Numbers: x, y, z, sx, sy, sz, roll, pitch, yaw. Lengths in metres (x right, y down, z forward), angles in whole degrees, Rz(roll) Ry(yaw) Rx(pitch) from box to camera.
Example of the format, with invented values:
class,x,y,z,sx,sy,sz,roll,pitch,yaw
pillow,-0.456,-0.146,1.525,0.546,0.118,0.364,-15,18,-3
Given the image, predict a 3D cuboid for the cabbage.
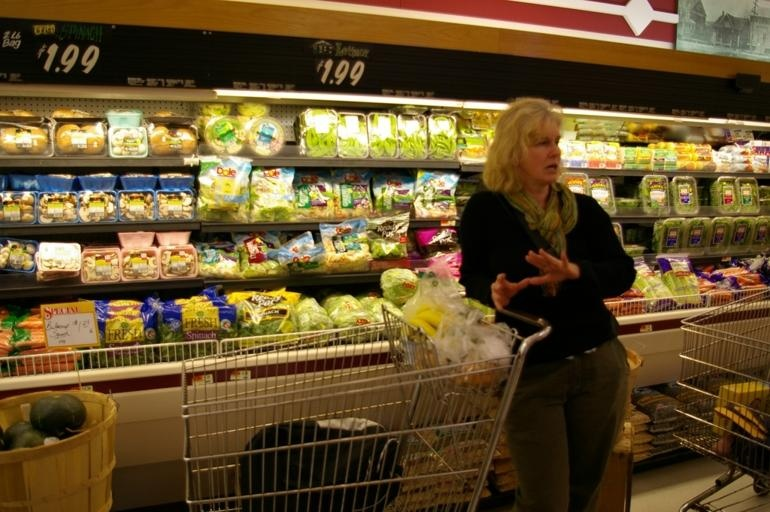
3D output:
class,x,y,z,sx,sy,sz,roll,pitch,yaw
cabbage,-0.182,0.377,3.649,0.650,0.148,0.590,-8,9,-11
